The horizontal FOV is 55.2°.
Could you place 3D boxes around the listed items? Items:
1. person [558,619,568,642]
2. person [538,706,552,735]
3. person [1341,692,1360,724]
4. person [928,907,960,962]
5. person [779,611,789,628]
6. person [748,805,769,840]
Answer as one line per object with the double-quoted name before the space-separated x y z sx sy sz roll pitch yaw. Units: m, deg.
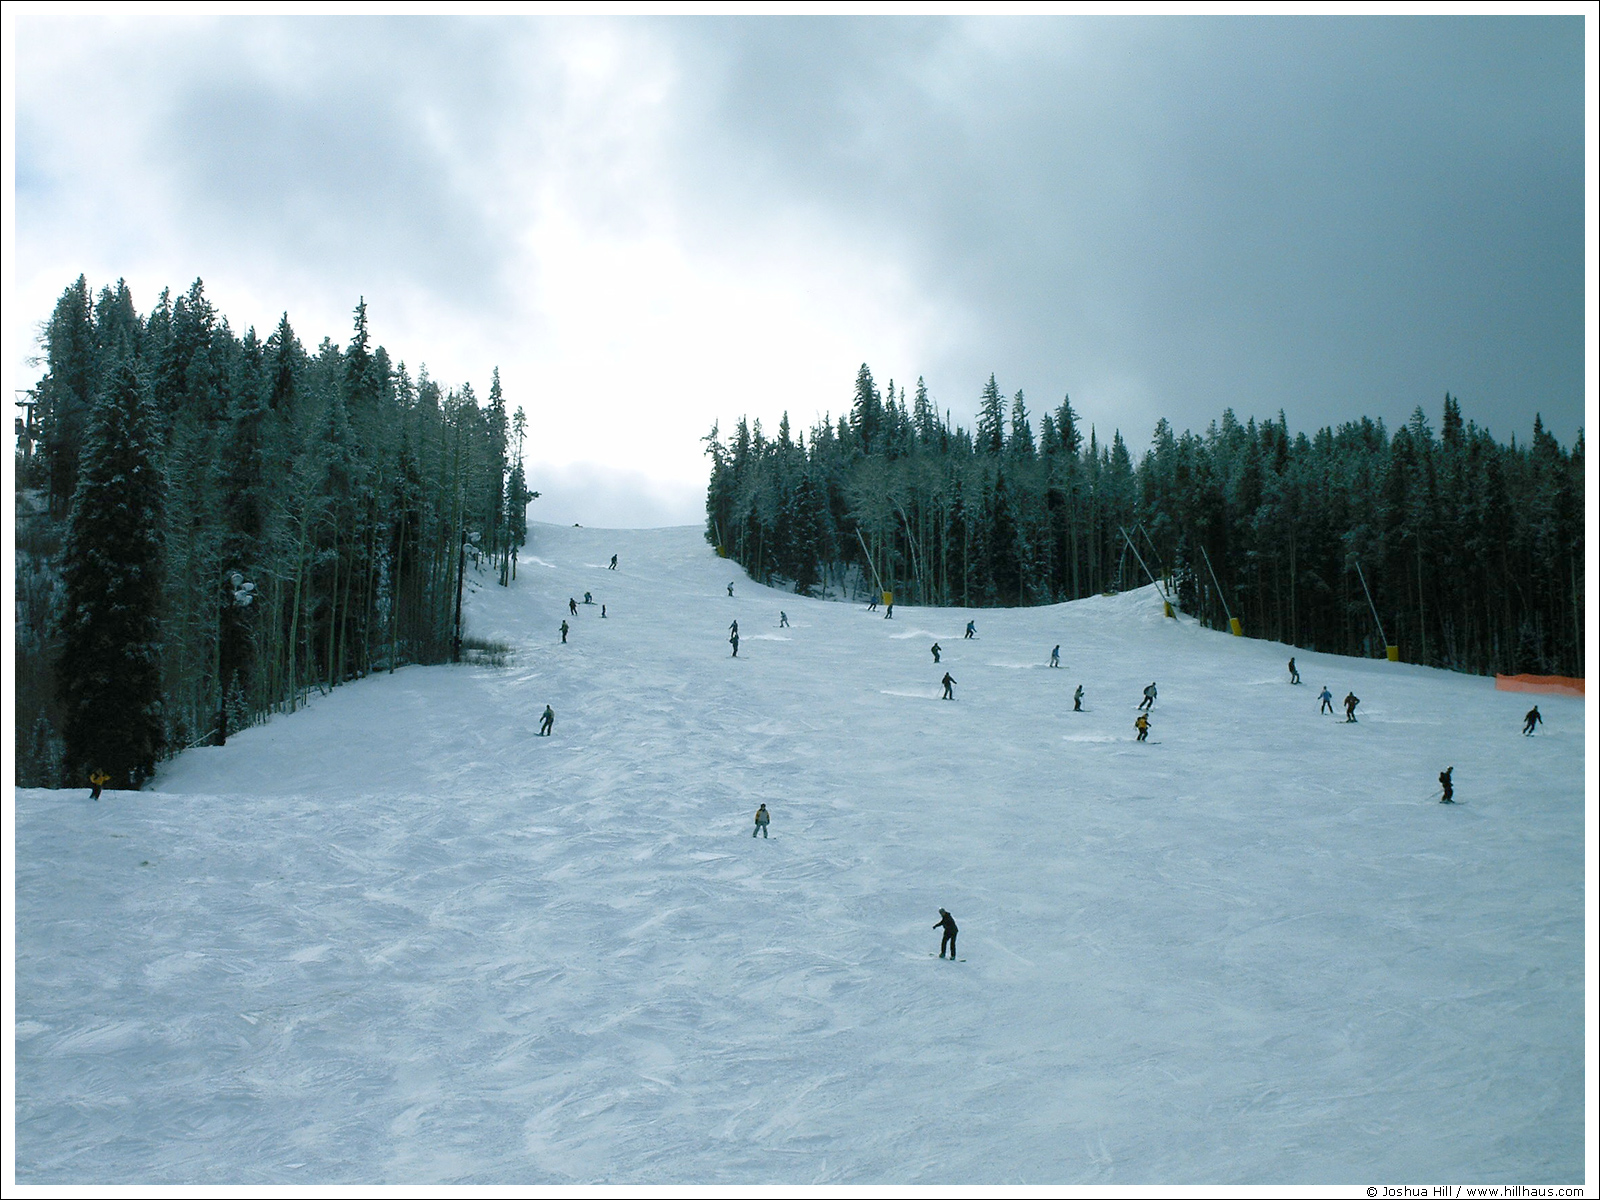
"person" -12.023 1.498 77.605 0.324 1.159 0.889 -10 1 -28
"person" -10.134 4.775 60.845 0.655 1.320 0.425 11 25 9
"person" 22.067 4.073 61.345 0.539 1.286 2.418 4 13 19
"person" 4.168 9.197 43.778 0.766 1.451 1.840 1 13 6
"person" -0.915 0.966 82.121 0.380 0.684 1.248 7 -3 3
"person" -1.266 7.030 50.515 0.587 1.149 1.856 -1 13 -2
